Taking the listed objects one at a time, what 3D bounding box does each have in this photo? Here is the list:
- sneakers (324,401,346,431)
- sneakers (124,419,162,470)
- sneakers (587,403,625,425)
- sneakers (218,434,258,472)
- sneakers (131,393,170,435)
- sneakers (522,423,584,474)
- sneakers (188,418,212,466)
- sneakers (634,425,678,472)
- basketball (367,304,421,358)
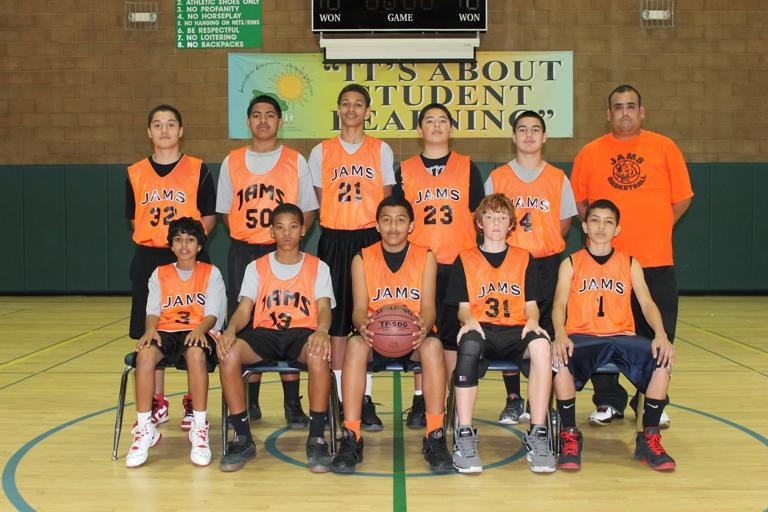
[{"bbox_3d":[-0.362,1.184,6.024,0.118,0.131,0.326,0,0,3],"label":"sneakers"},{"bbox_3d":[-1.748,1.345,5.815,0.143,0.171,0.410,-10,15,7],"label":"sneakers"},{"bbox_3d":[1.720,1.254,6.425,0.336,0.129,0.112,6,-12,-30],"label":"sneakers"},{"bbox_3d":[-1.046,1.396,5.834,0.165,0.219,0.240,1,6,18],"label":"sneakers"},{"bbox_3d":[-1.830,1.205,6.363,0.161,0.241,0.442,1,-6,-2],"label":"sneakers"},{"bbox_3d":[1.190,1.359,5.766,0.300,0.179,0.392,0,0,2],"label":"sneakers"},{"bbox_3d":[-1.315,1.347,5.837,0.135,0.153,0.378,-1,11,-12],"label":"sneakers"},{"bbox_3d":[1.914,1.368,5.827,0.293,0.273,0.166,3,7,28],"label":"sneakers"},{"bbox_3d":[0.070,0.505,5.916,0.359,0.339,0.374,7,11,29],"label":"basketball"}]
